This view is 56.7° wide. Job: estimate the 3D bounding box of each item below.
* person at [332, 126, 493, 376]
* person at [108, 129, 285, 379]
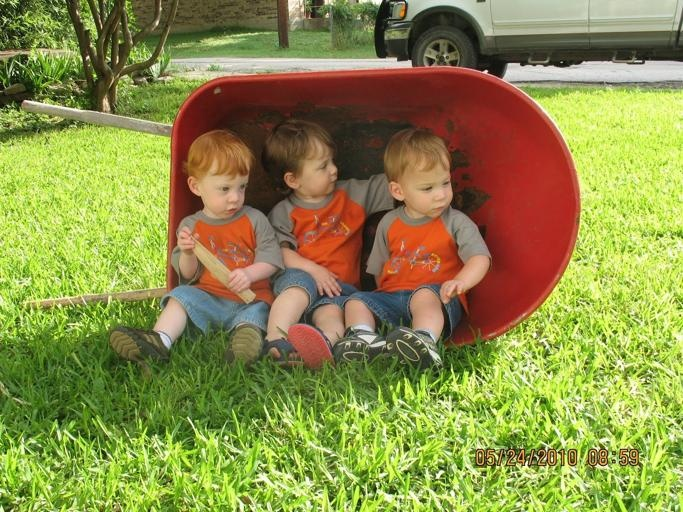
[{"bbox_3d":[0.306,-0.062,2.474,0.567,0.981,0.884,4,10,19],"label":"person"},{"bbox_3d":[-0.459,-0.045,2.377,0.505,0.812,0.732,4,12,12],"label":"person"}]
